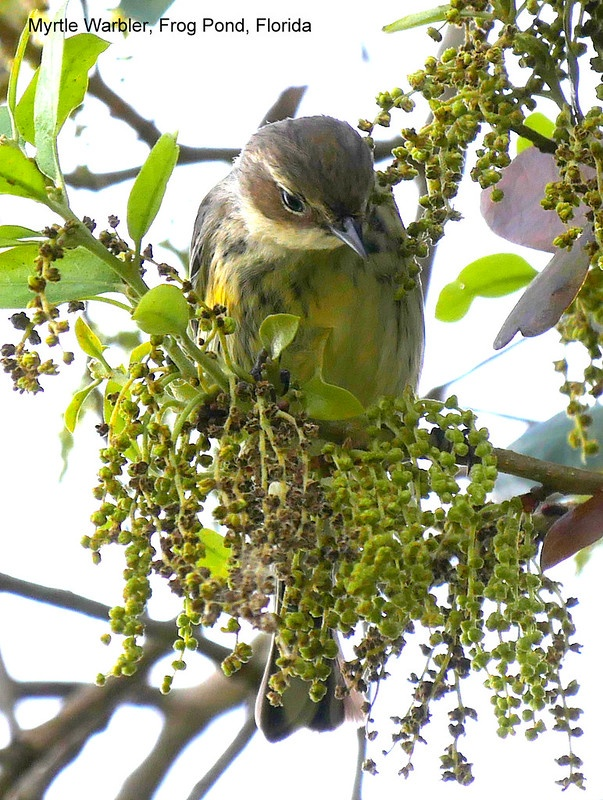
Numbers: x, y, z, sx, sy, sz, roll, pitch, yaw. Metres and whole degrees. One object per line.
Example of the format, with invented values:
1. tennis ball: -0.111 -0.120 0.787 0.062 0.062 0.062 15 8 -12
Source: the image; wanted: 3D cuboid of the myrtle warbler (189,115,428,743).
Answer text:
1. myrtle warbler: -0.020 0.090 3.626 0.492 0.572 1.418 3 -76 -15
